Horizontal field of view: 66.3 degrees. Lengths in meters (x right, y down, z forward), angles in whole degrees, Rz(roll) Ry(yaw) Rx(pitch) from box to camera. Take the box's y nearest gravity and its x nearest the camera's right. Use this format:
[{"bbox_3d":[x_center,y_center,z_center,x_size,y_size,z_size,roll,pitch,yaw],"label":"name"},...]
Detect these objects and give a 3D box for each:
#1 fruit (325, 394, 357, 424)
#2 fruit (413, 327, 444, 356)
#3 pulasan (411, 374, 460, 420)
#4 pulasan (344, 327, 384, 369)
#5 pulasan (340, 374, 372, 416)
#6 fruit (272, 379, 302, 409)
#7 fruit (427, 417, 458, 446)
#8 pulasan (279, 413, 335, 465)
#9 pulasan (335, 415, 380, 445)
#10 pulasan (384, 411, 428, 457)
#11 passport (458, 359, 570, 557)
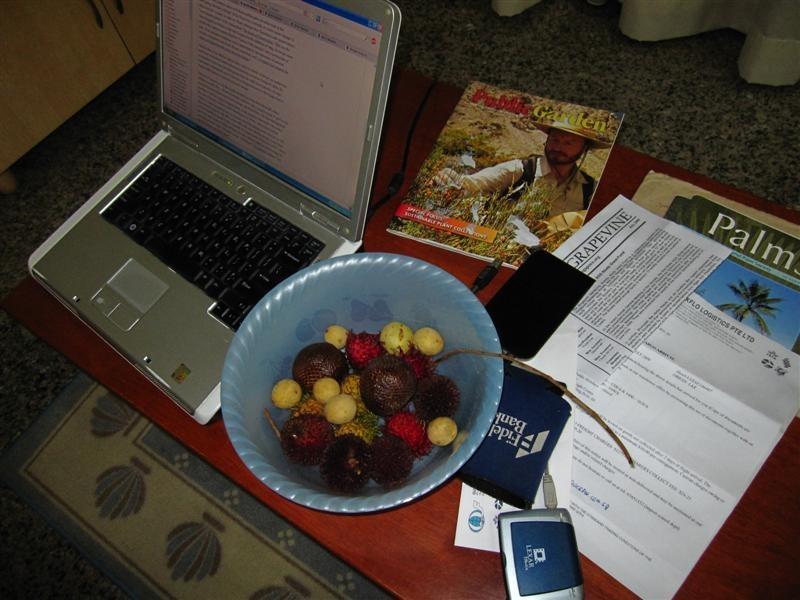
[{"bbox_3d":[-0.077,0.139,0.778,0.039,0.021,0.036,0,75,-3],"label":"fruit"},{"bbox_3d":[0.036,0.055,0.799,0.034,0.020,0.037,-17,79,-13],"label":"fruit"},{"bbox_3d":[0.043,0.124,0.768,0.048,0.029,0.055,4,73,2],"label":"pulasan"},{"bbox_3d":[-0.049,0.064,0.800,0.043,0.046,0.050,-1,67,-2],"label":"pulasan"},{"bbox_3d":[-0.057,0.123,0.792,0.037,0.025,0.048,-2,67,-20],"label":"pulasan"},{"bbox_3d":[-0.147,0.122,0.791,0.040,0.023,0.035,0,75,-3],"label":"fruit"},{"bbox_3d":[0.051,0.162,0.754,0.033,0.032,0.041,10,92,-21],"label":"fruit"},{"bbox_3d":[-0.115,0.174,0.757,0.042,0.030,0.054,-9,50,-3],"label":"pulasan"},{"bbox_3d":[-0.050,0.165,0.787,0.031,0.013,0.041,-12,39,-29],"label":"pulasan"},{"bbox_3d":[0.009,0.161,0.785,0.036,0.047,0.054,-48,60,25],"label":"pulasan"},{"bbox_3d":[0.143,0.216,0.795,0.146,0.050,0.220,11,78,5],"label":"passport"}]
